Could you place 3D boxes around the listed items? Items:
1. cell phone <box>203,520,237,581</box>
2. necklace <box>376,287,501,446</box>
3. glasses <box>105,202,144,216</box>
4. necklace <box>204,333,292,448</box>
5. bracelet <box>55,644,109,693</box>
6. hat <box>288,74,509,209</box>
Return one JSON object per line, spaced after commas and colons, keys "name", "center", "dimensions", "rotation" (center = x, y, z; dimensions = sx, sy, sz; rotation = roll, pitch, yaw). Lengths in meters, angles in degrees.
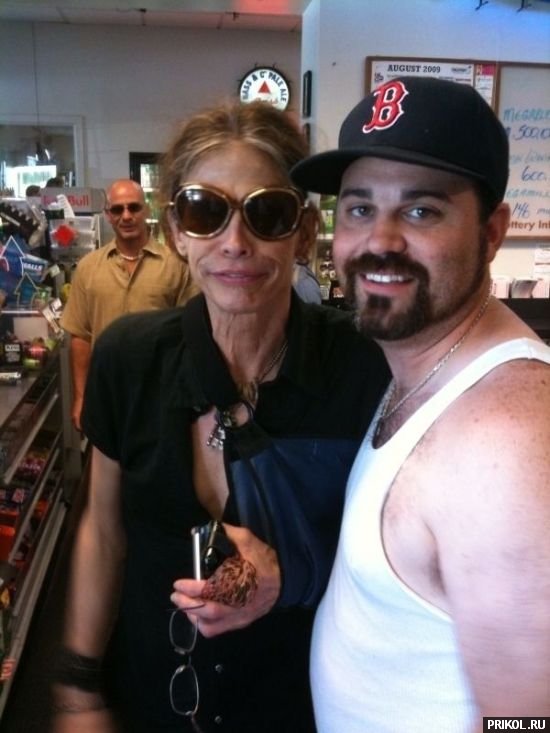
{"name": "cell phone", "center": [-0.094, 0.306, 1.010], "dimensions": [0.051, 0.077, 0.031], "rotation": [1, -14, 6]}
{"name": "necklace", "center": [0.238, 0.032, 0.982], "dimensions": [0.038, 0.341, 0.100], "rotation": [11, 20, -19]}
{"name": "glasses", "center": [-1.007, -1.040, 4.150], "dimensions": [0.122, 0.038, 0.123], "rotation": [-3, -10, -1]}
{"name": "necklace", "center": [-0.027, 0.037, 1.265], "dimensions": [0.091, 0.304, 0.068], "rotation": [33, -32, 0]}
{"name": "bracelet", "center": [-0.390, 0.606, 1.238], "dimensions": [0.078, 0.056, 0.075], "rotation": [11, -24, -4]}
{"name": "hat", "center": [0.213, -0.359, 0.983], "dimensions": [0.289, 0.173, 0.374], "rotation": [4, 5, 31]}
